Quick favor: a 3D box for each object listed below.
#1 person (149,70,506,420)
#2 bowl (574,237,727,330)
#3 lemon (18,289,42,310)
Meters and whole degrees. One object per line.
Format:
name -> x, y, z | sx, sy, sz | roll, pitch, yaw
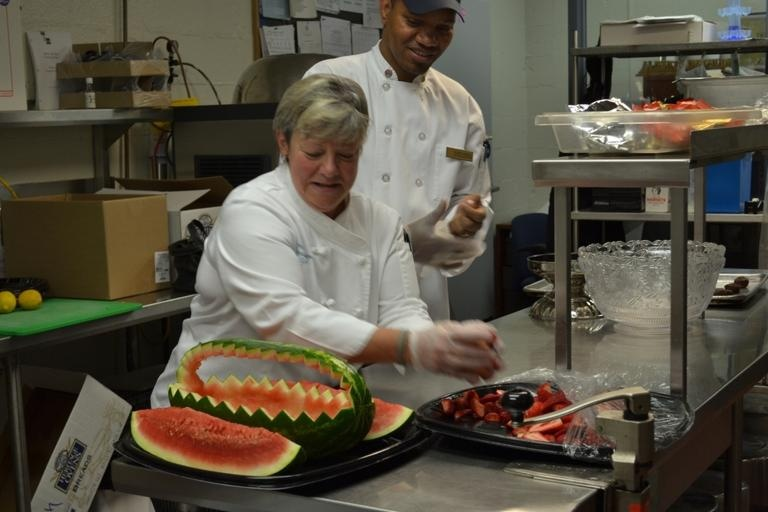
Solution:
person -> -0.096, 0.098, 1.731 | 0.773, 1.060, 0.848 | -7, 23, -27
bowl -> 0.780, 0.027, 2.053 | 0.363, 0.288, 0.460 | 10, 14, 41
lemon -> -1.355, 0.166, 2.469 | 0.068, 0.078, 0.077 | 4, -9, -44
